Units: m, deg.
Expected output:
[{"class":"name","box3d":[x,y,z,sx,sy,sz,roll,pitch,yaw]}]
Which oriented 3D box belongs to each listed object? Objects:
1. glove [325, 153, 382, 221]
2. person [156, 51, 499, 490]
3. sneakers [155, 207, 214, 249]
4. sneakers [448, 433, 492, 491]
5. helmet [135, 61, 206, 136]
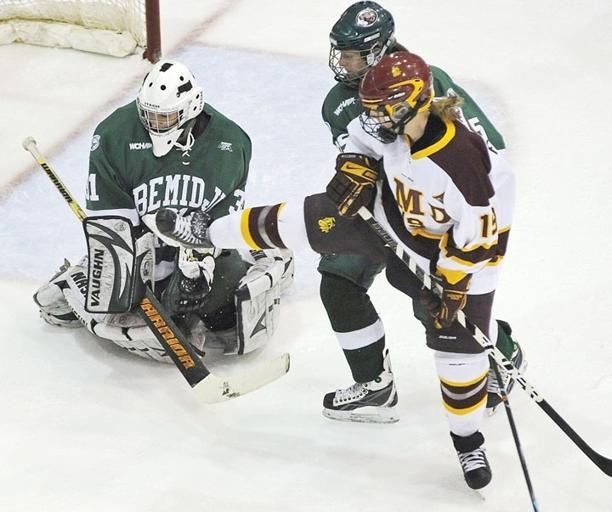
[{"class":"glove","box3d":[0.193,-0.252,2.820,0.106,0.249,0.196,40,20,-52]},{"class":"person","box3d":[0.252,0.049,2.893,1.178,1.659,0.337,13,19,27]},{"class":"sneakers","box3d":[-0.488,-0.114,3.080,0.127,0.096,0.301,-4,-16,44]},{"class":"sneakers","box3d":[0.650,0.788,2.942,0.097,0.114,0.277,-28,31,15]},{"class":"helmet","box3d":[-0.635,-0.774,3.403,0.308,0.257,0.323,18,54,4]}]
